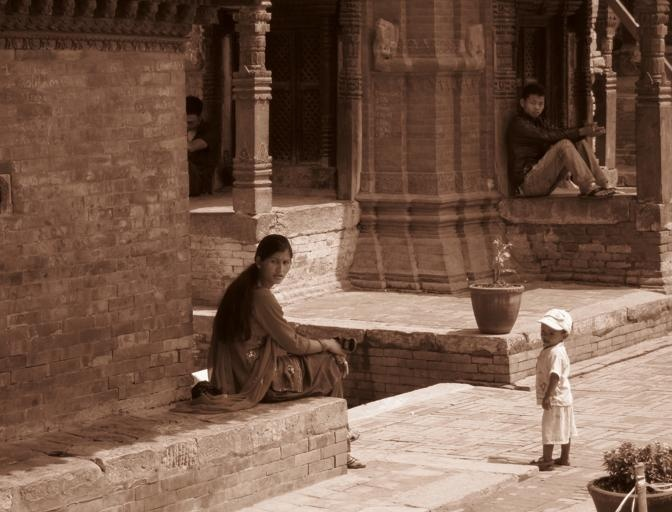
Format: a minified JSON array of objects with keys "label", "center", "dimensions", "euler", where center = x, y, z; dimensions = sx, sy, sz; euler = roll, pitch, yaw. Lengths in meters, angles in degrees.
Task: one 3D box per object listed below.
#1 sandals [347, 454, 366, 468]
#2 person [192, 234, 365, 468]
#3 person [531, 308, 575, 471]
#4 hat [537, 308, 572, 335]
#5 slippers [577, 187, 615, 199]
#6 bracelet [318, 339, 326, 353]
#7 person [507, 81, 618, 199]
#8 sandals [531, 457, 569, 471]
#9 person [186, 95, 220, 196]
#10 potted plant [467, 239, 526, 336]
[{"label":"sandals","center":[0.144,1.513,7.692],"dimensions":[0.064,0.078,0.189],"euler":[5,3,27]},{"label":"person","center":[-0.474,0.460,7.311],"dimensions":[1.122,1.205,0.494],"euler":[-4,4,-10]},{"label":"person","center":[1.620,0.987,7.909],"dimensions":[0.319,1.173,0.570],"euler":[-3,4,12]},{"label":"hat","center":[1.648,0.501,7.798],"dimensions":[0.196,0.136,0.270],"euler":[14,-7,45]},{"label":"slippers","center":[3.324,-0.797,13.399],"dimensions":[0.378,0.100,0.170],"euler":[-1,7,9]},{"label":"bracelet","center":[-0.093,0.641,7.469],"dimensions":[0.027,0.072,0.062],"euler":[-24,7,-24]},{"label":"person","center":[2.843,-1.518,13.704],"dimensions":[1.239,1.514,0.640],"euler":[-2,4,21]},{"label":"sandals","center":[1.584,1.558,7.804],"dimensions":[0.283,0.123,0.102],"euler":[2,1,5]},{"label":"person","center":[-1.772,-1.429,13.714],"dimensions":[0.269,1.304,0.687],"euler":[-2,4,22]},{"label":"potted plant","center":[1.609,0.297,10.641],"dimensions":[0.552,0.936,0.538],"euler":[-1,6,0]}]
